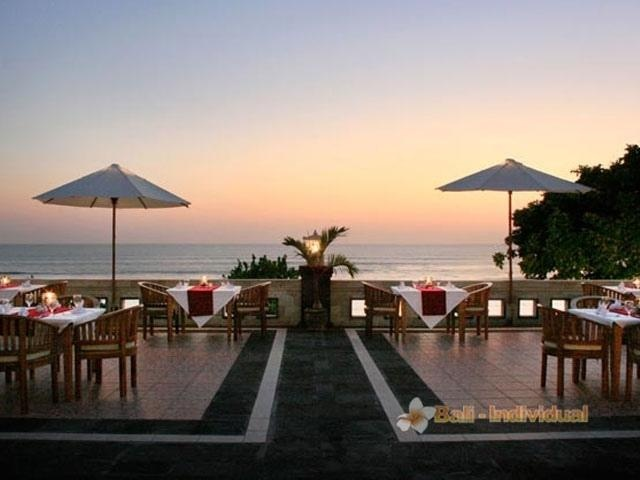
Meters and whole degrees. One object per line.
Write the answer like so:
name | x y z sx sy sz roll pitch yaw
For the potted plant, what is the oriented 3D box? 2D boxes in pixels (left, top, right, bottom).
potted plant | -0.050 0.906 16.009 1.350 2.534 1.097 -5 11 -31

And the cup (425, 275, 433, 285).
cup | 2.554 0.945 14.562 0.217 0.213 0.203 0 -4 0
